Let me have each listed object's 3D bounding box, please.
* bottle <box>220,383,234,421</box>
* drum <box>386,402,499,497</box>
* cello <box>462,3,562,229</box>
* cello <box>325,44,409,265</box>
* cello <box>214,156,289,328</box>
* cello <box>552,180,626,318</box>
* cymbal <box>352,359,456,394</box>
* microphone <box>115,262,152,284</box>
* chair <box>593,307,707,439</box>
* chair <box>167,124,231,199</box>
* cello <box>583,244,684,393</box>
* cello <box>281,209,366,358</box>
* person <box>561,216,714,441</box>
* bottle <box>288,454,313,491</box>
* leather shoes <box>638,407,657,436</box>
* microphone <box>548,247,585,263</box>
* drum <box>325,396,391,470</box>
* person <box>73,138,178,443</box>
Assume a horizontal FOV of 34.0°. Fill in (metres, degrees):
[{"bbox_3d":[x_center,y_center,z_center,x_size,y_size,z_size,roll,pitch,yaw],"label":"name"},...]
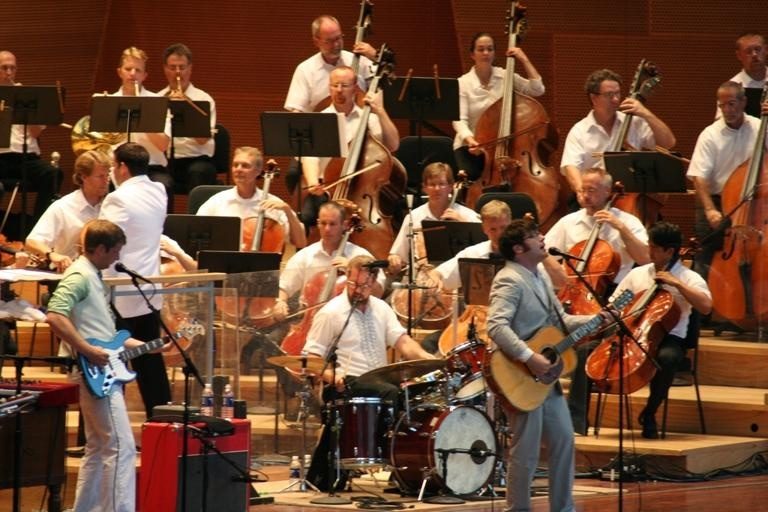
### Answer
[{"bbox_3d":[-1.317,1.225,10.553,0.116,0.278,0.282,1,-7,-6],"label":"bottle"},{"bbox_3d":[0.480,1.653,10.671,0.843,0.707,0.553,-20,12,-40],"label":"drum"},{"bbox_3d":[1.382,-1.527,13.231,0.971,2.481,0.528,0,-8,7],"label":"cello"},{"bbox_3d":[-0.077,-1.081,12.877,0.884,2.184,0.782,4,-35,-1],"label":"cello"},{"bbox_3d":[-1.210,0.031,11.676,0.601,1.471,0.566,-1,-24,-1],"label":"cello"},{"bbox_3d":[2.006,0.035,11.771,0.756,1.411,0.578,4,-2,-1],"label":"cello"},{"bbox_3d":[0.130,1.004,10.614,0.494,0.107,0.459,-16,-19,9],"label":"cymbal"},{"bbox_3d":[-2.091,0.151,10.369,0.243,0.066,0.069,30,-38,-20],"label":"microphone"},{"bbox_3d":[2.575,1.153,12.016,1.021,1.216,0.808,3,-13,-7],"label":"chair"},{"bbox_3d":[-1.999,-1.044,13.708,0.841,0.862,0.796,2,0,14],"label":"chair"},{"bbox_3d":[2.359,0.637,11.384,0.227,1.370,0.559,51,-16,-30],"label":"cello"},{"bbox_3d":[-0.548,0.216,11.522,0.679,1.415,0.671,1,-5,-2],"label":"cello"},{"bbox_3d":[2.280,0.702,12.059,1.584,1.877,1.119,0,-3,-8],"label":"person"},{"bbox_3d":[-0.730,1.894,10.912,0.200,0.308,0.327,1,-7,-3],"label":"bottle"},{"bbox_3d":[2.450,1.551,11.614,0.123,0.306,0.135,-9,-7,18],"label":"leather shoes"},{"bbox_3d":[1.662,0.001,11.366,0.345,0.101,0.085,12,37,30],"label":"microphone"},{"bbox_3d":[-0.136,1.548,10.800,0.668,0.546,0.603,-2,-18,4],"label":"drum"},{"bbox_3d":[-2.344,0.200,11.058,0.791,2.334,0.808,9,16,38],"label":"person"}]
